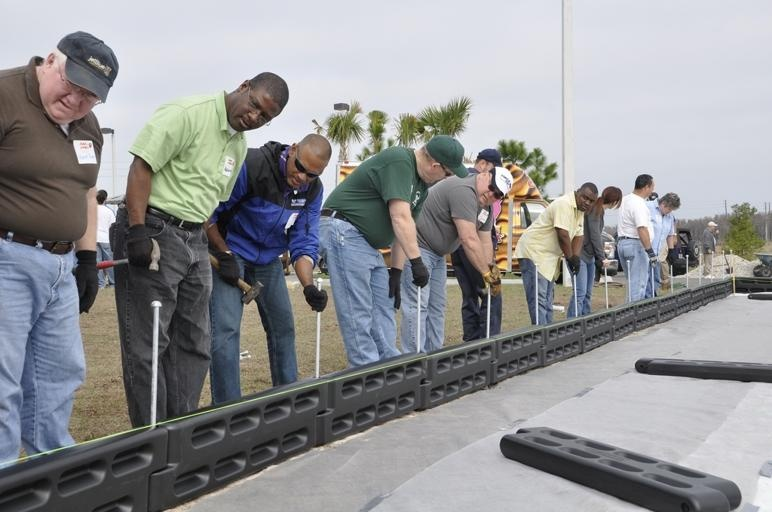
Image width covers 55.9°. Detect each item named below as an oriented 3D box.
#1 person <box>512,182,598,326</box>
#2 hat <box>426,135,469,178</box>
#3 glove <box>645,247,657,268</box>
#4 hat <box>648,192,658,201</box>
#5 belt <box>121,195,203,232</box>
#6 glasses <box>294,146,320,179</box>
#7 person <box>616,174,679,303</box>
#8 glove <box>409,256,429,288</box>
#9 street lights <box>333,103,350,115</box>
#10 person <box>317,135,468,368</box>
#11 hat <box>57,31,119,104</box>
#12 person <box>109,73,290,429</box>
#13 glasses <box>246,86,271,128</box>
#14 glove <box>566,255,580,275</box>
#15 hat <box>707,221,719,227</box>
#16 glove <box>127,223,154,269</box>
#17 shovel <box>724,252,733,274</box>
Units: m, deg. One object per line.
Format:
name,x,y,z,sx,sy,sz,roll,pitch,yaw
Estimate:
person,1.746,-0.049,7.771,0.768,1.493,1.439,2,3,34
hat,0.432,-0.741,5.234,0.283,0.254,0.177,-1,3,-16
glove,3.334,0.023,9.102,0.082,0.231,0.167,-7,15,-9
hat,3.801,-0.835,10.346,0.103,0.125,0.315,-4,-3,32
belt,-1.355,-0.247,4.329,0.492,0.211,0.346,0,2,-10
glasses,-0.514,-0.616,4.750,0.056,0.186,0.188,-22,-33,32
person,3.432,-0.264,9.556,0.513,0.597,1.723,-10,-42,14
glove,0.226,0.123,5.312,0.140,0.215,0.077,19,-42,-35
street lights,-0.274,-0.924,4.517,0.099,0.057,0.114,0,2,2
person,-0.006,-0.038,5.324,0.951,1.657,0.408,0,3,-7
hat,-1.510,-0.985,3.732,0.196,0.356,0.244,-41,-37,9
person,-1.165,-0.029,4.398,0.886,2.127,0.475,-1,3,-21
glasses,-0.755,-0.882,4.325,0.185,0.147,0.104,-1,40,43
glove,2.028,0.098,7.886,0.159,0.164,0.192,-5,-17,11
hat,8.099,-0.787,18.014,0.211,0.104,0.319,-5,3,-26
glove,-1.406,-0.059,4.174,0.142,0.243,0.159,-1,3,-21
shovel,7.536,0.169,16.078,0.114,0.415,0.962,1,2,23
